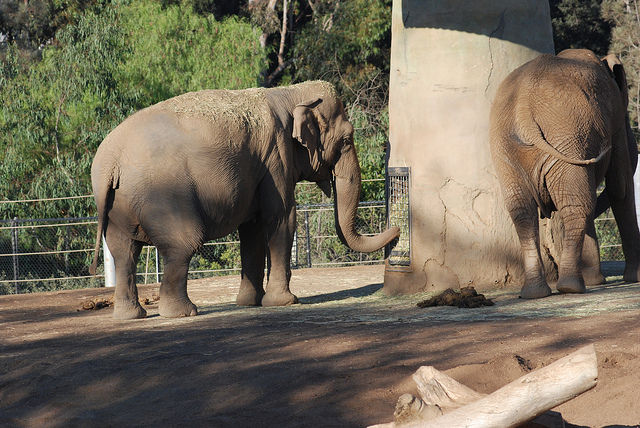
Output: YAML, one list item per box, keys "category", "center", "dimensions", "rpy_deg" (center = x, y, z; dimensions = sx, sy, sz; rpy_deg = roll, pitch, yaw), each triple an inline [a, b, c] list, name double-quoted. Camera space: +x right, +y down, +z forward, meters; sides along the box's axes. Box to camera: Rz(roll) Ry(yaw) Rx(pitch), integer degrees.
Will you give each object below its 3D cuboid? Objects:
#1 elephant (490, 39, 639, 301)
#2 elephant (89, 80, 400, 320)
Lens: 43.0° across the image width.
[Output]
- category: "elephant"
  center: [3.634, -0.614, 11.543]
  dimensions: [2.459, 3.413, 1.997]
  rpy_deg: [-5, 5, -6]
- category: "elephant"
  center: [-0.920, -0.241, 12.426]
  dimensions: [4.621, 3.672, 1.721]
  rpy_deg: [-4, 11, -29]
